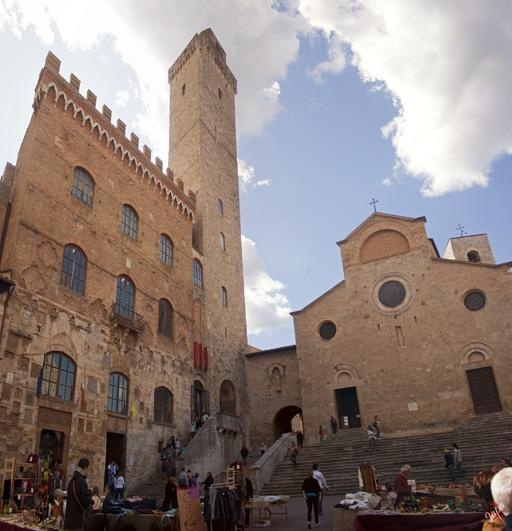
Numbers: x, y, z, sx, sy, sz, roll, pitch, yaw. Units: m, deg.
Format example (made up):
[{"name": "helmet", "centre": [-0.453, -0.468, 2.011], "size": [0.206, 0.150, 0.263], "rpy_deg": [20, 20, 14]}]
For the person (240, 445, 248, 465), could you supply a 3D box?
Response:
[{"name": "person", "centre": [-0.680, 10.091, 21.437], "size": [0.358, 1.215, 0.448], "rpy_deg": [-2, 7, 5]}]

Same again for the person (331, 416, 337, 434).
[{"name": "person", "centre": [4.476, 9.311, 23.750], "size": [0.341, 0.744, 1.052], "rpy_deg": [-6, -8, 8]}]

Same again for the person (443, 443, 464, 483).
[{"name": "person", "centre": [7.580, 7.692, 15.815], "size": [0.570, 1.642, 0.820], "rpy_deg": [20, -20, -38]}]

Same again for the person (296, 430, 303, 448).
[{"name": "person", "centre": [2.429, 9.807, 23.044], "size": [0.350, 1.093, 1.450], "rpy_deg": [-6, -8, 5]}]
